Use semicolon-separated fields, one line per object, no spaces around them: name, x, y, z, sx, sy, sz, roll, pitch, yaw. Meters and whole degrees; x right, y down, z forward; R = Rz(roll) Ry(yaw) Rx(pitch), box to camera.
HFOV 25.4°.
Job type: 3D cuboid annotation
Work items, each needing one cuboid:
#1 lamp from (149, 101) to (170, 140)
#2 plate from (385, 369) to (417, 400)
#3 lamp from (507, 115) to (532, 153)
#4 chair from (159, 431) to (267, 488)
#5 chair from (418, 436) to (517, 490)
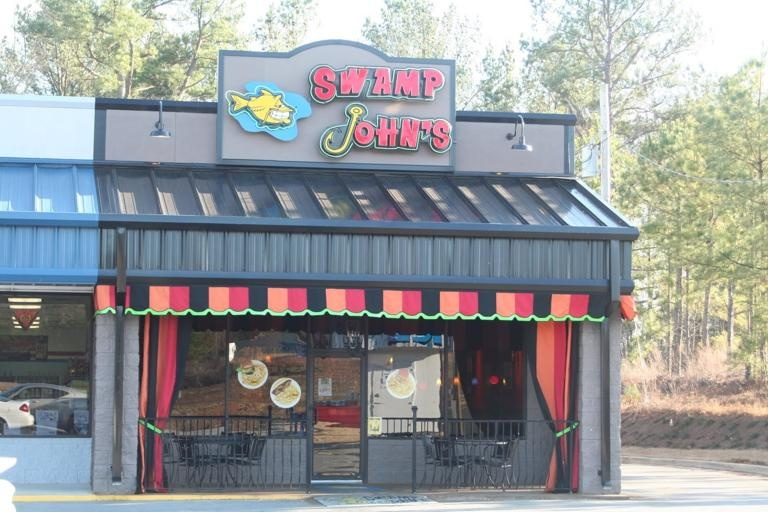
lamp;-6.658;-4.102;50.976;0.601;1.168;0.708;1;-8;-7
plate;0.534;3.878;51.657;0.926;0.931;0.134;3;-8;-18
lamp;4.142;-3.743;51.840;0.586;1.014;0.991;1;3;-31
chair;-5.037;6.013;50.265;2.873;1.654;1.168;1;-8;-8
chair;2.522;6.141;50.719;2.720;1.599;1.575;0;-8;2
